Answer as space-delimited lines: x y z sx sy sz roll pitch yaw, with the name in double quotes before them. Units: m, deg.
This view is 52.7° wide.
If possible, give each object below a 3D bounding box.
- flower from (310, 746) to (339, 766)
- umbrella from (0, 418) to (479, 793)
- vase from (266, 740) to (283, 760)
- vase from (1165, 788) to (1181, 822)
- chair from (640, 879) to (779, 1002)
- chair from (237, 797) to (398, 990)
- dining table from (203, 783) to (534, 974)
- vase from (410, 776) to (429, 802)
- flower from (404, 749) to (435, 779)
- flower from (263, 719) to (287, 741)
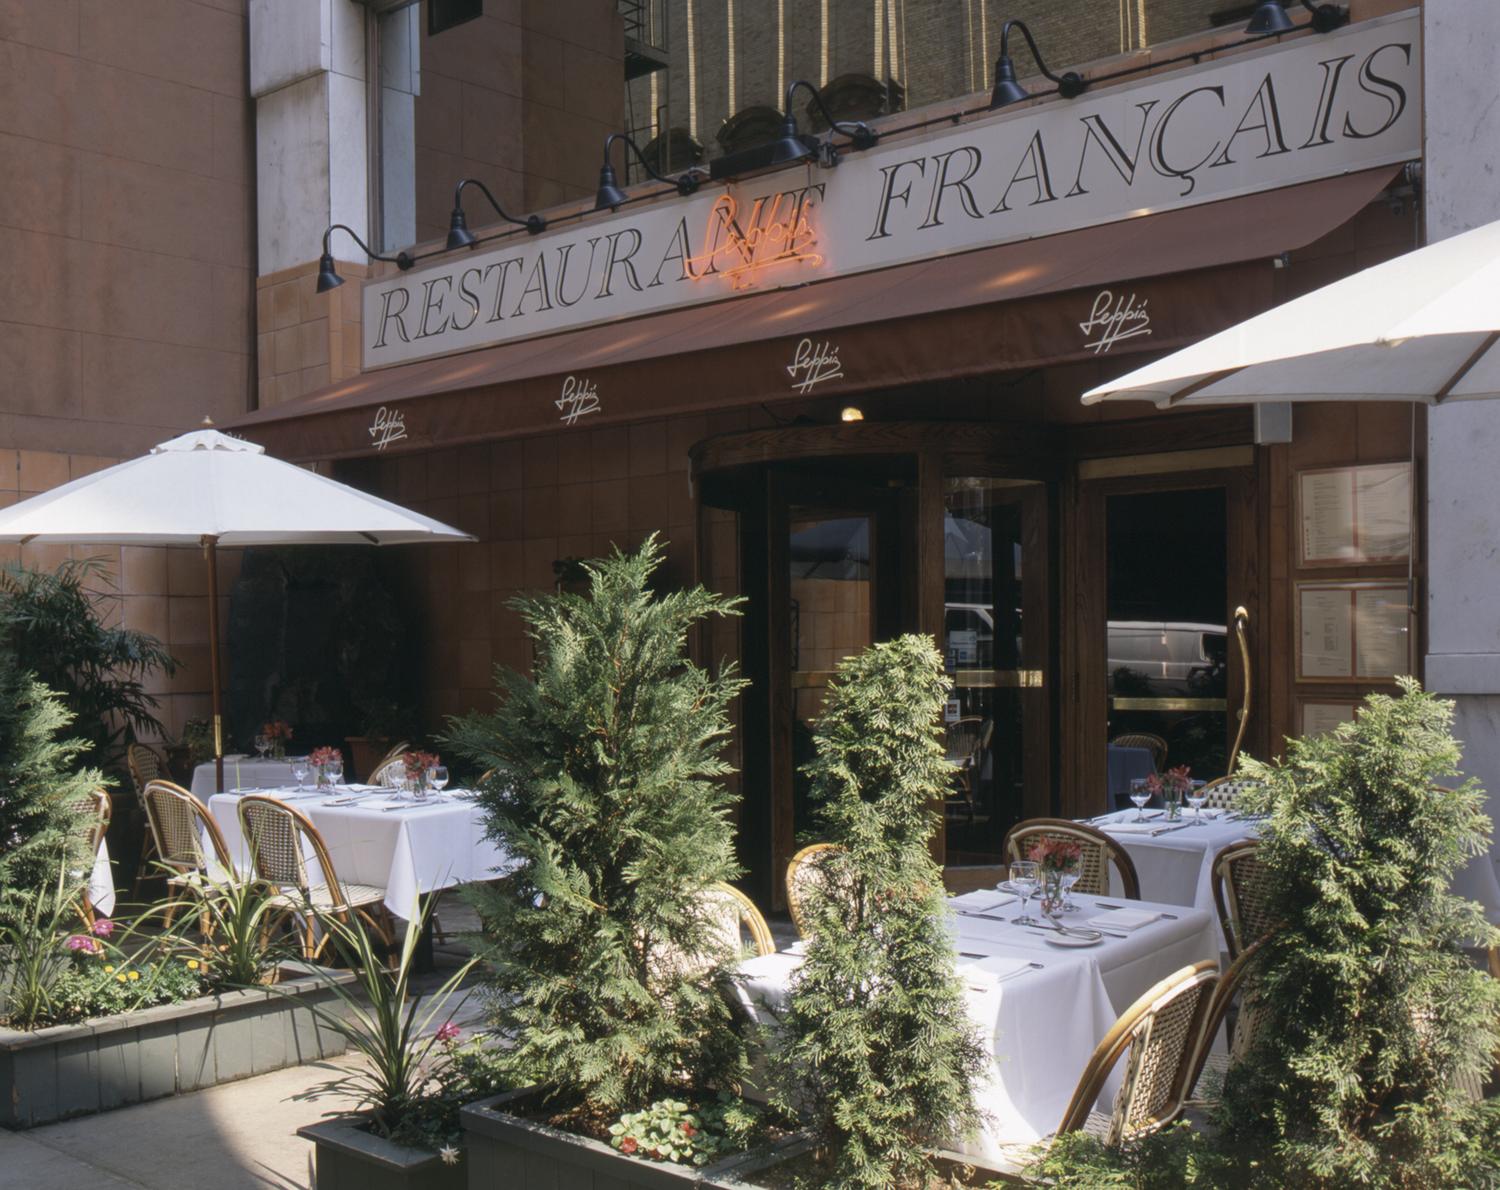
"flower" -2.276 0.853 8.174 0.100 0.100 0.105 2 -6 -4
"umbrella" -2.437 -0.394 7.372 1.819 1.531 2.081 4 5 7
"vase" -2.855 0.926 9.188 0.096 0.147 0.105 1 -3 1
"vase" 1.942 0.948 6.957 0.094 0.189 0.104 -1 -5 21
"chair" -0.093 0.970 4.286 0.376 0.231 0.410 -9 -7 2
"chair" -2.159 1.351 7.336 0.471 1.005 0.641 10 13 17
"dining table" -1.854 1.151 7.457 1.775 0.556 1.077 -3 -1 42
"vase" -1.638 0.956 7.571 0.073 0.073 0.085 0 -6 9
"flower" -1.656 0.830 7.658 0.128 0.157 0.141 7 10 31
"flower" -2.934 0.828 9.411 0.116 0.139 0.128 0 -7 5
